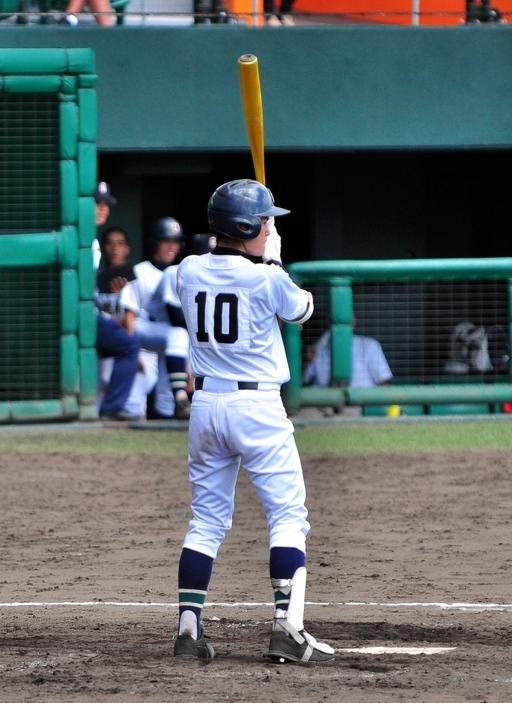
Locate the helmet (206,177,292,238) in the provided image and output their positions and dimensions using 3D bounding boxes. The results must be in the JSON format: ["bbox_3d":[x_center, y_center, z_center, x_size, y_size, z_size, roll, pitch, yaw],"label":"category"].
[{"bbox_3d":[-0.037,-0.561,6.797,0.258,0.227,0.217,11,-8,-14],"label":"helmet"}]

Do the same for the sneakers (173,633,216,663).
[{"bbox_3d":[-0.233,1.138,6.581,0.069,0.094,0.202,2,-12,32],"label":"sneakers"}]

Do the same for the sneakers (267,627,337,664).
[{"bbox_3d":[0.159,1.139,6.626,0.282,0.167,0.106,1,-1,-20],"label":"sneakers"}]

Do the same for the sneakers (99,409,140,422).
[{"bbox_3d":[-0.795,0.387,10.006,0.225,0.105,0.082,-1,2,-13],"label":"sneakers"}]
